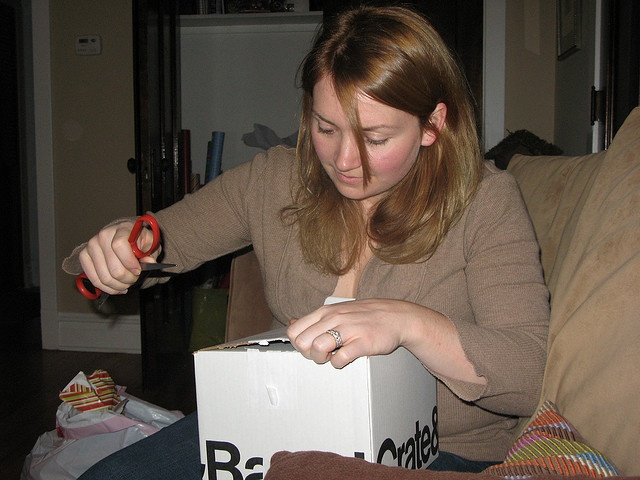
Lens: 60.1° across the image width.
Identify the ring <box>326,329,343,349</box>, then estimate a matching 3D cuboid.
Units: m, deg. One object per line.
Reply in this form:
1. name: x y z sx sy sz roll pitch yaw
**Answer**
1. ring: 0.025 0.184 1.048 0.029 0.033 0.032 -11 51 -9
